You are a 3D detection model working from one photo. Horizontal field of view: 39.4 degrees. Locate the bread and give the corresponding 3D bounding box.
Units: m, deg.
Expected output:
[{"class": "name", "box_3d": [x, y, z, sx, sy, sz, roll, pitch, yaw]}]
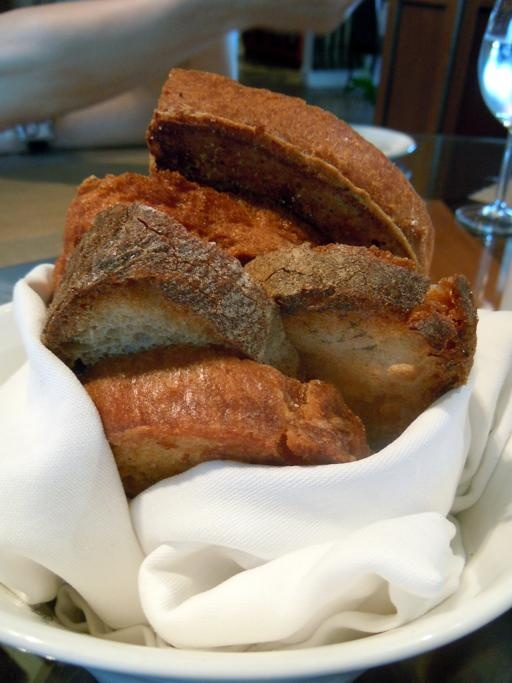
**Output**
[{"class": "bread", "box_3d": [0.004, -0.043, 0.651, 0.411, 0.297, 0.144, 7, -2, 0]}]
